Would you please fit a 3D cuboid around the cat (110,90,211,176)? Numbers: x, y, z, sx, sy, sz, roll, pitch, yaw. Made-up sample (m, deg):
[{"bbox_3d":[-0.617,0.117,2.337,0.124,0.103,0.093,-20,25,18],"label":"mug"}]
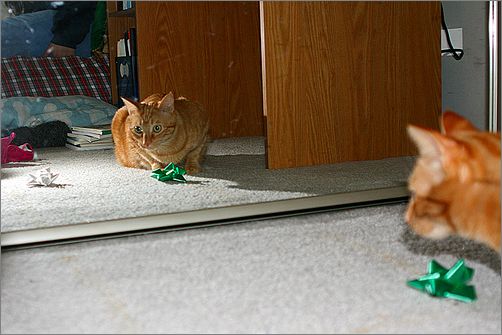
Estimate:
[{"bbox_3d":[-0.407,-0.171,1.812,0.304,0.239,0.463,-2,22,-2],"label":"cat"}]
